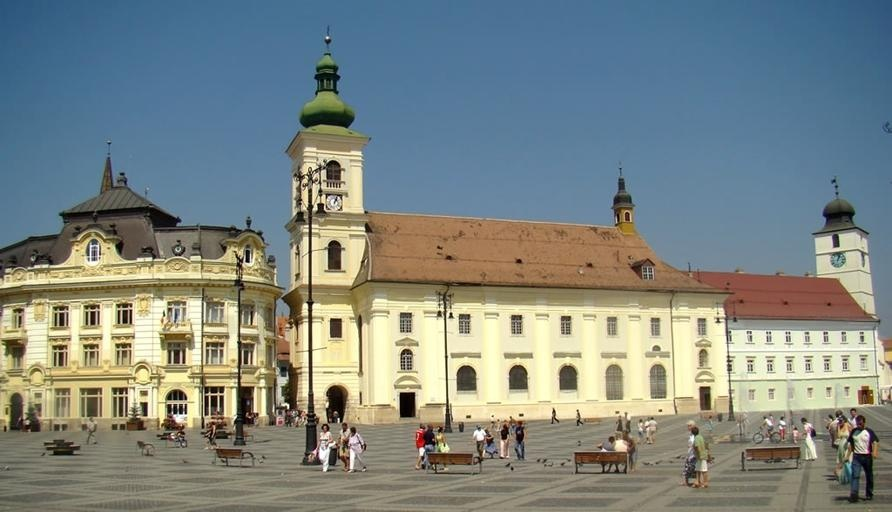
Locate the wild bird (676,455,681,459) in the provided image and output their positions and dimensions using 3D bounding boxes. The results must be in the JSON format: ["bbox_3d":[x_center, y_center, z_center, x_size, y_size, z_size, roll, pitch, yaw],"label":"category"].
[{"bbox_3d":[18.699,16.213,91.955,0.504,0.340,1.616,-5,-13,10],"label":"wild bird"}]
